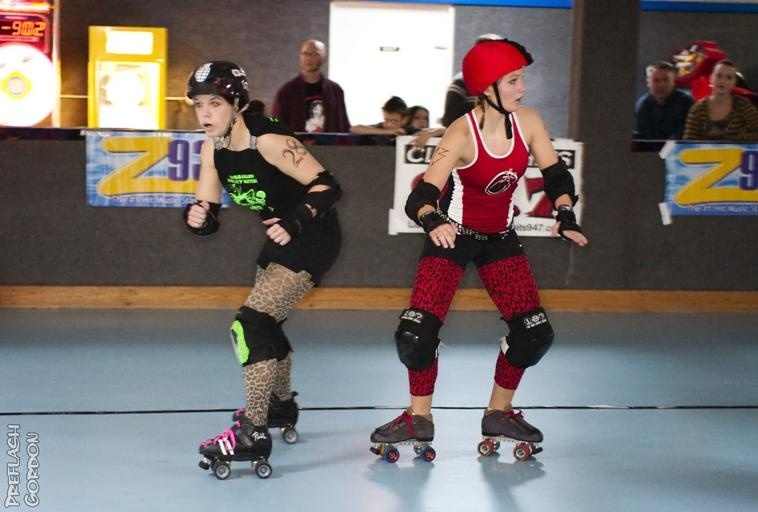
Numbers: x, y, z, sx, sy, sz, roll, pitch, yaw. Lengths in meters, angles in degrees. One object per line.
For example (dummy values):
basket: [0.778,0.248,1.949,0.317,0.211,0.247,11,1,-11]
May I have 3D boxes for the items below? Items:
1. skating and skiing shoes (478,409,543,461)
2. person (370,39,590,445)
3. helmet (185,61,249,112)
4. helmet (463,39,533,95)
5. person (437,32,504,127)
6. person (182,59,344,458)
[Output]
skating and skiing shoes: [0.803,1.089,4.953,0.398,0.267,0.250,-1,0,16]
person: [0.688,-0.086,4.901,1.048,2.402,0.615,5,12,9]
helmet: [-0.908,-0.993,4.767,0.269,0.253,0.341,-7,-23,44]
helmet: [0.720,-1.129,4.827,0.419,0.309,0.305,2,12,10]
person: [0.835,-1.631,7.666,0.352,0.943,0.710,34,24,32]
person: [-0.671,0.023,4.791,0.932,2.275,0.636,1,12,-13]
